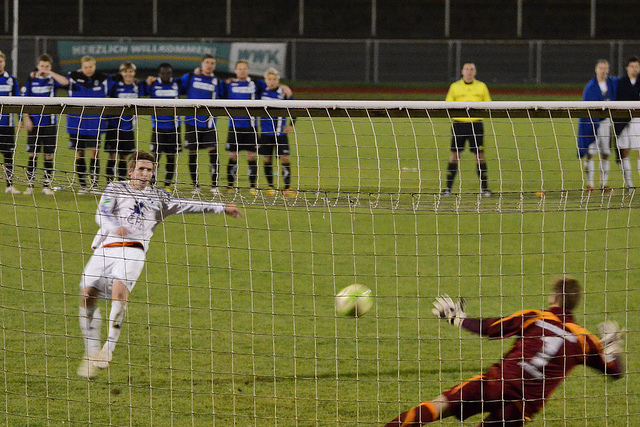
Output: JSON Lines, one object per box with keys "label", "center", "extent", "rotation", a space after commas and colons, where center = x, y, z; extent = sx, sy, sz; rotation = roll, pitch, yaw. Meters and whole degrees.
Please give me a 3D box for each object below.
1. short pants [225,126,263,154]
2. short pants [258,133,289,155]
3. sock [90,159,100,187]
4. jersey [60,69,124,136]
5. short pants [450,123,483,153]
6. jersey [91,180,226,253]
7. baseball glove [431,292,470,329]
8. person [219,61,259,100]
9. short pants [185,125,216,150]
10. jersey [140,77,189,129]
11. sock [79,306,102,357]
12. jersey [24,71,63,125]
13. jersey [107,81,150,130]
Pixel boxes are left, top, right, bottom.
{"label": "short pants", "center": [-1.649, -1.630, 32.458], "extent": [0.990, 0.677, 0.328], "rotation": [-1, -4, -6]}
{"label": "short pants", "center": [-1.012, -1.537, 32.576], "extent": [0.743, 0.383, 0.231], "rotation": [0, 4, -5]}
{"label": "sock", "center": [-4.698, -0.861, 30.944], "extent": [0.197, 0.674, 0.211], "rotation": [-1, 11, -23]}
{"label": "jersey", "center": [-5.323, -2.471, 33.083], "extent": [1.636, 1.279, 0.797], "rotation": [2, 7, -36]}
{"label": "short pants", "center": [3.235, -1.678, 32.322], "extent": [1.050, 0.669, 0.512], "rotation": [-1, -4, 5]}
{"label": "jersey", "center": [-2.905, -0.026, 28.360], "extent": [3.282, 1.460, 1.751], "rotation": [3, 7, 34]}
{"label": "baseball glove", "center": [2.532, 1.811, 27.933], "extent": [0.703, 0.644, 0.304], "rotation": [39, 8, 1]}
{"label": "person", "center": [-1.783, -3.001, 33.101], "extent": [0.747, 0.831, 0.620], "rotation": [1, -1, -23]}
{"label": "short pants", "center": [-2.577, -1.676, 32.137], "extent": [0.955, 0.695, 0.486], "rotation": [0, 0, -5]}
{"label": "jersey", "center": [-3.564, -2.510, 33.443], "extent": [1.708, 1.237, 0.408], "rotation": [-10, 19, -37]}
{"label": "sock", "center": [-4.377, 2.273, 28.286], "extent": [0.429, 0.941, 0.380], "rotation": [0, -1, -5]}
{"label": "jersey", "center": [-6.088, -2.573, 32.596], "extent": [0.823, 1.212, 3.101], "rotation": [1, -1, -11]}
{"label": "jersey", "center": [-4.285, -2.422, 32.862], "extent": [0.854, 1.125, 1.080], "rotation": [0, -1, -5]}
